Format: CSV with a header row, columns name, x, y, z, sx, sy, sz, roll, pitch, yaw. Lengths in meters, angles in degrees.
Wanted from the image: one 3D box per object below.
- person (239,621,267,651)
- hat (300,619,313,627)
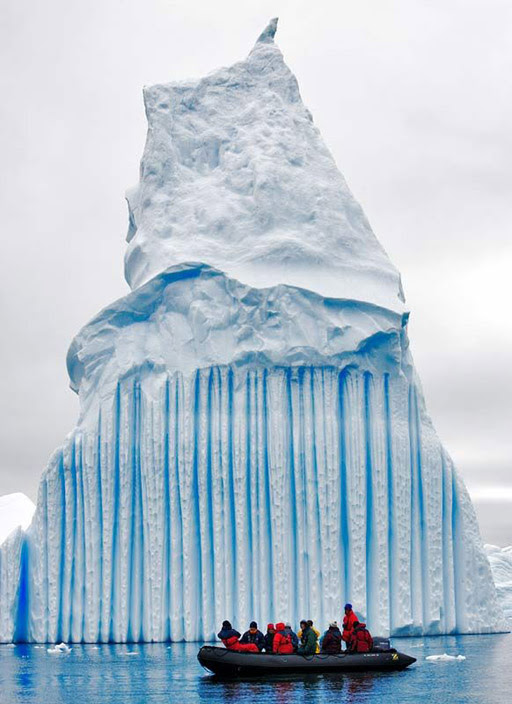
name,x,y,z,sx,sy,sz,roll,pitch,yaw
person,-0.036,7.498,59.397,0.630,1.309,0.669,3,-16,-9
hat,1.344,7.087,59.563,0.208,0.183,0.342,-1,-9,-5
